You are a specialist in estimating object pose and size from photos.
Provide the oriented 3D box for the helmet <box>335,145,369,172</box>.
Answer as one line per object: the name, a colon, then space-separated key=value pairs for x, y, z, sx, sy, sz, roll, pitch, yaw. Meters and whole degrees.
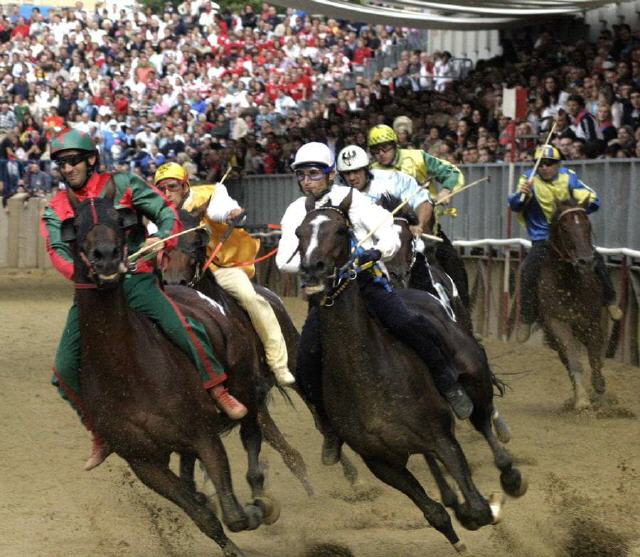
helmet: x=0.260 y=-0.974 z=9.989 sx=0.225 sy=0.211 sz=0.234 roll=-9 pitch=4 yaw=10

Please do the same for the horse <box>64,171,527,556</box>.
horse: x=-0.447 y=0.557 z=9.184 sx=2.789 sy=2.703 sz=2.104 roll=-4 pitch=8 yaw=-11

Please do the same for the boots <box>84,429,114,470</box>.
boots: x=-1.636 y=1.264 z=8.925 sx=0.258 sy=0.382 sz=0.129 roll=0 pitch=6 yaw=-3

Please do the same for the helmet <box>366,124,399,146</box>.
helmet: x=0.547 y=-1.272 z=10.841 sx=0.182 sy=0.182 sz=0.227 roll=-15 pitch=-21 yaw=9

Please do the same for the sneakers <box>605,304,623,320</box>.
sneakers: x=3.048 y=0.348 z=12.631 sx=0.101 sy=0.158 sz=0.154 roll=-19 pitch=12 yaw=-22

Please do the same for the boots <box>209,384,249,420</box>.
boots: x=-0.676 y=0.913 z=8.910 sx=0.174 sy=0.320 sz=0.116 roll=-43 pitch=2 yaw=-28

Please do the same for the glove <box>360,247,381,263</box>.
glove: x=0.343 y=-0.162 z=8.510 sx=0.095 sy=0.044 sz=0.120 roll=-18 pitch=9 yaw=0

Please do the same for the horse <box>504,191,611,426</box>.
horse: x=2.419 y=0.210 z=11.619 sx=0.557 sy=1.466 sz=2.178 roll=-11 pitch=-38 yaw=1

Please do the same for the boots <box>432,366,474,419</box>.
boots: x=0.979 y=0.823 z=9.043 sx=0.174 sy=0.202 sz=0.538 roll=-25 pitch=31 yaw=1

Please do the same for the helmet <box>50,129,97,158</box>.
helmet: x=-1.730 y=-0.949 z=8.513 sx=0.317 sy=0.196 sz=0.206 roll=-4 pitch=8 yaw=-11

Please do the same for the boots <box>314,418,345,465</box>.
boots: x=0.078 y=1.264 z=8.958 sx=0.122 sy=0.415 sz=0.238 roll=-15 pitch=-19 yaw=13

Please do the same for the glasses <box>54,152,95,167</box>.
glasses: x=-1.717 y=-0.829 z=8.457 sx=0.142 sy=0.043 sz=0.138 roll=-10 pitch=-21 yaw=6
